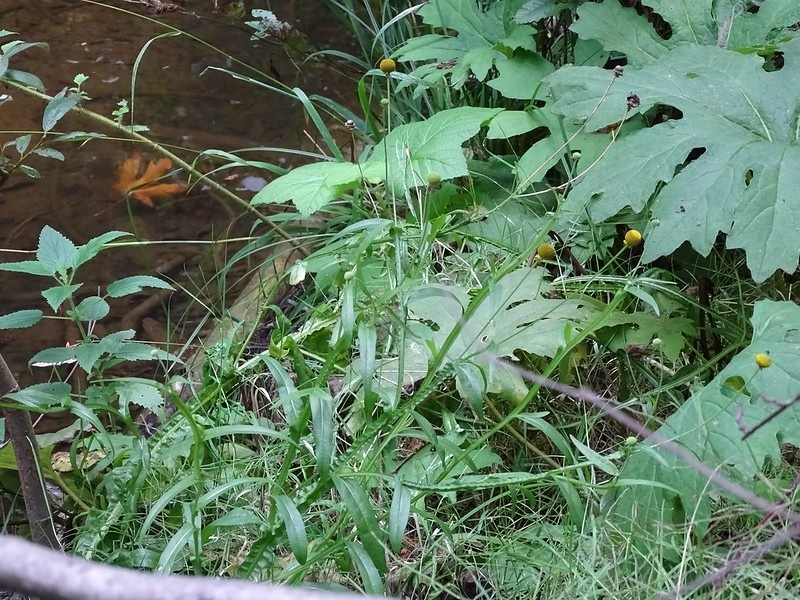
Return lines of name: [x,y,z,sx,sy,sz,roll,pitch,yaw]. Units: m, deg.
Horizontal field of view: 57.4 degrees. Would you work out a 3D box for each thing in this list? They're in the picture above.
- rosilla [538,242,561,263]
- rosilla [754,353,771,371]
rosilla: [0.331,-0.107,1.616,0.047,0.039,0.039,31,56,-26]
rosilla: [0.689,0.118,1.393,0.031,0.032,0.017,-8,56,21]
